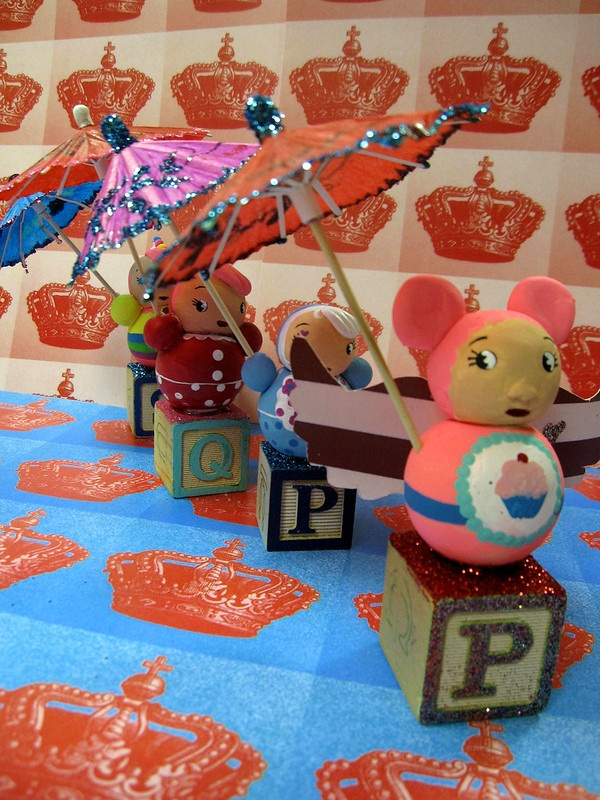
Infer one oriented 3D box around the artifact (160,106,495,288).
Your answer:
[{"bbox_3d":[0.064,-0.358,1.224,0.455,0.316,0.702,6,13,16],"label":"artifact"}]
